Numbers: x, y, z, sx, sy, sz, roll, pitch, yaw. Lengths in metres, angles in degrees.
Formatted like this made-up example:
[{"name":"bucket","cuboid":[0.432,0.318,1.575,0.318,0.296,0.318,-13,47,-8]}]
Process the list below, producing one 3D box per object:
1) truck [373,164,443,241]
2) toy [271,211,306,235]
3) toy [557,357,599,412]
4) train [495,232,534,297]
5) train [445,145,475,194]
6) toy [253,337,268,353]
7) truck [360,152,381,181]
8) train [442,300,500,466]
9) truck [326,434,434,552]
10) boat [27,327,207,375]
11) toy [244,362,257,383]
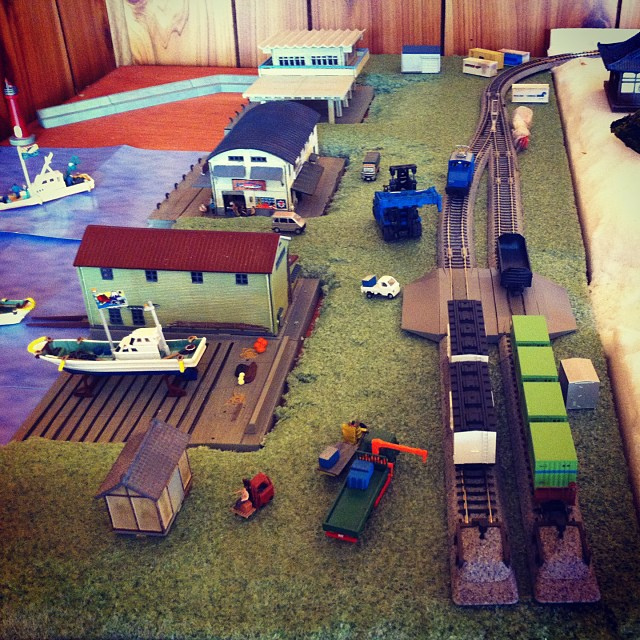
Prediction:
[{"name":"truck","cuboid":[4.575,-6.189,30.633,3.086,3.334,3.097,-3,32,5]},{"name":"toy","cuboid":[-1.701,-5.277,31.607,2.078,0.910,1.018,0,44,3]},{"name":"toy","cuboid":[9.133,2.371,20.266,1.175,1.400,1.158,-4,32,4]},{"name":"train","cuboid":[9.046,-2.494,26.255,2.039,1.387,3.322,1,43,6]},{"name":"train","cuboid":[8.042,-8.219,32.877,1.281,2.207,1.407,20,42,35]},{"name":"toy","cuboid":[-2.486,1.088,24.663,0.587,0.230,0.627,-16,20,-5]},{"name":"truck","cuboid":[3.353,-9.622,36.196,1.392,1.075,1.988,4,44,12]},{"name":"train","cuboid":[5.191,1.736,19.745,1.620,1.726,6.604,-1,41,9]},{"name":"truck","cuboid":[1.421,5.253,17.627,2.537,1.404,3.260,14,50,26]},{"name":"boat","cuboid":[-7.889,1.232,22.794,6.432,1.827,1.536,0,32,7]},{"name":"toy","cuboid":[-2.668,2.109,23.128,0.294,0.298,0.787,10,37,7]}]
